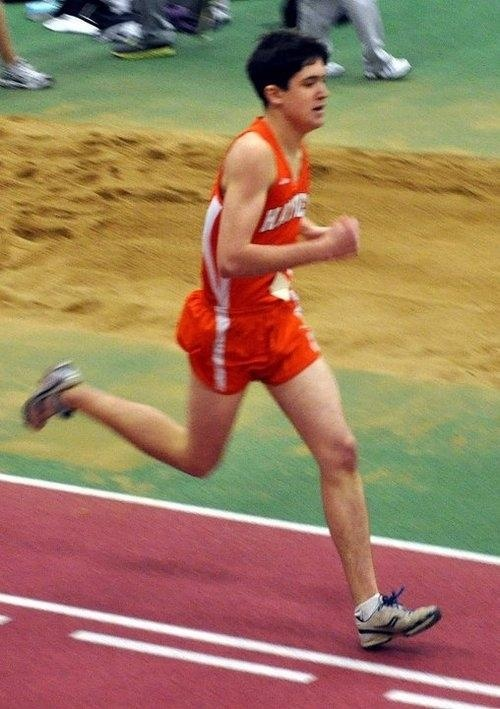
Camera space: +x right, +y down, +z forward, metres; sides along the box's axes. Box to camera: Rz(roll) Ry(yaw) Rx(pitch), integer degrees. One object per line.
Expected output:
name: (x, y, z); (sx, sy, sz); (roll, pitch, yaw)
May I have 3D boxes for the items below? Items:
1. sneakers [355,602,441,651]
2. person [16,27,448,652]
sneakers: (0.402, 0.731, 1.812); (0.086, 0.250, 0.108); (27, 40, -49)
person: (-0.033, -0.017, 1.911); (0.390, 1.684, 1.170); (-11, 18, -42)
